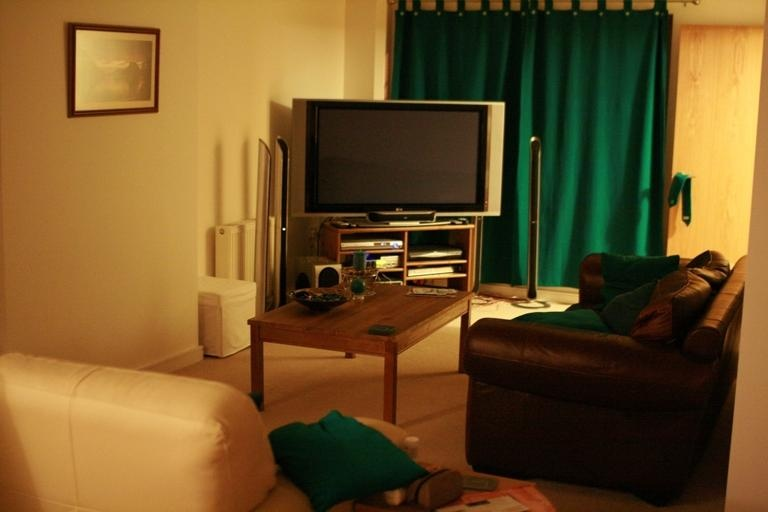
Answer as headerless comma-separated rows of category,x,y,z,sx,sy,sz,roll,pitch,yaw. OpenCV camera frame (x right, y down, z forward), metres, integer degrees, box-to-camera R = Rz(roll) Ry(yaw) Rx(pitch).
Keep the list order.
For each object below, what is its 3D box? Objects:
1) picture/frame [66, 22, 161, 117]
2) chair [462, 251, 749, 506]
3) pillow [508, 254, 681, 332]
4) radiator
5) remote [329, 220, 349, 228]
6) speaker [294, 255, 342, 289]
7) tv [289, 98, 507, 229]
picture/frame,-1.538,-1.059,3.476,0.027,0.500,0.619,21,24,22
chair,1.008,0.548,2.929,0.968,0.707,1.380,5,13,25
pillow,1.409,0.210,3.581,0.658,0.503,0.692,-5,5,-24
radiator,-1.064,0.086,4.704,0.102,0.665,0.765,3,5,24
remote,-0.408,-0.298,5.588,0.129,0.030,0.243,-5,13,-25
speaker,-0.603,0.017,5.286,0.256,0.339,0.465,-5,12,-27
tv,0.130,-0.898,5.581,1.979,1.031,0.111,-2,12,-10
